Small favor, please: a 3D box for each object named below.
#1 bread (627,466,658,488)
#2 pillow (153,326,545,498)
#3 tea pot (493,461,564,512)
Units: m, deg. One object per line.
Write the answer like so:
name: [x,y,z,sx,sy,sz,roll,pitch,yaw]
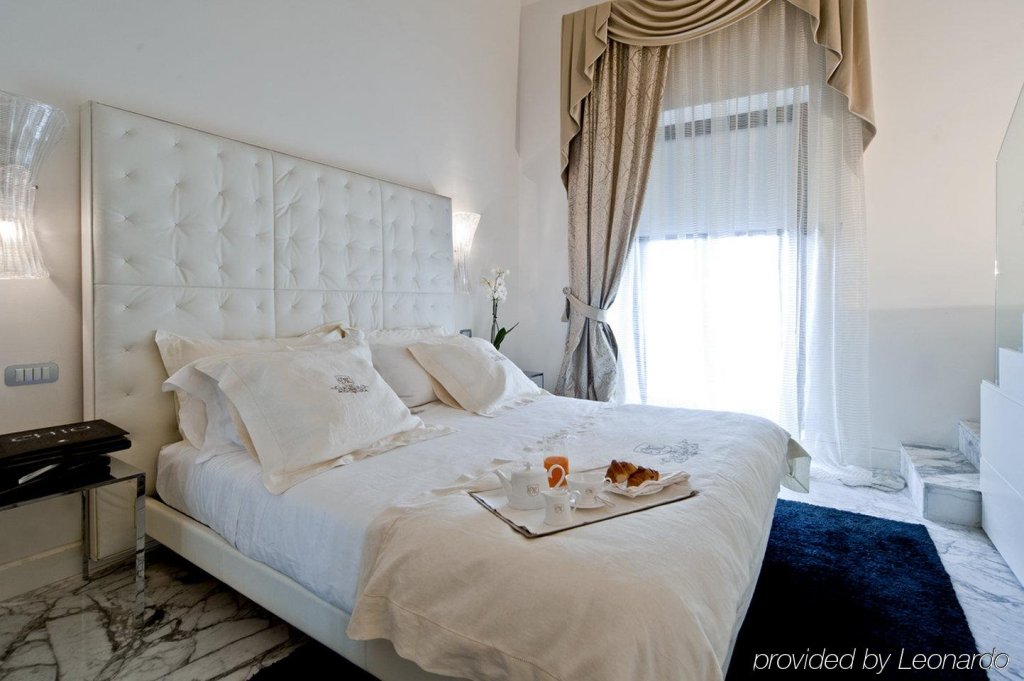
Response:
bread: [0.572,0.589,2.788,0.155,0.060,0.079,-2,7,-18]
pillow: [-0.893,0.265,3.647,1.107,0.653,1.734,7,9,44]
tea pot: [0.102,0.601,2.668,0.216,0.148,0.157,2,-5,-13]
